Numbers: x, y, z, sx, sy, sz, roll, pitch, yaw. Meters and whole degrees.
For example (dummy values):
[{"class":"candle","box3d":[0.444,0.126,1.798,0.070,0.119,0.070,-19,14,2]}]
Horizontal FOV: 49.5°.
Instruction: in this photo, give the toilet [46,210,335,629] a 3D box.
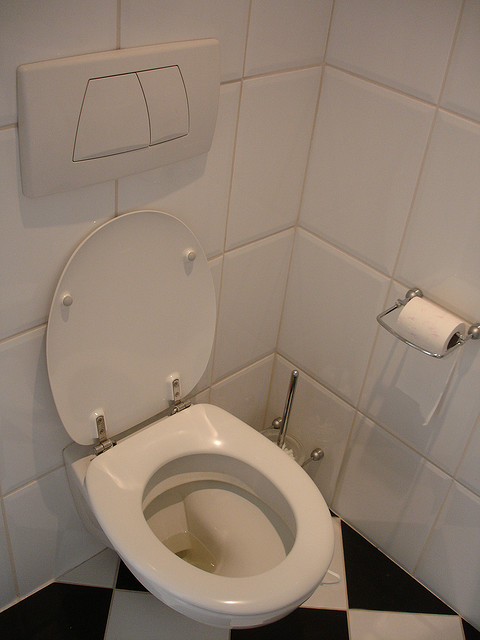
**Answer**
[{"class":"toilet","box3d":[-0.110,0.199,1.003,0.295,0.711,0.458,-26,49,-28]}]

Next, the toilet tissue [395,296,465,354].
[{"class":"toilet tissue","box3d":[0.352,0.017,0.914,0.047,0.066,0.067,12,20,-36]}]
